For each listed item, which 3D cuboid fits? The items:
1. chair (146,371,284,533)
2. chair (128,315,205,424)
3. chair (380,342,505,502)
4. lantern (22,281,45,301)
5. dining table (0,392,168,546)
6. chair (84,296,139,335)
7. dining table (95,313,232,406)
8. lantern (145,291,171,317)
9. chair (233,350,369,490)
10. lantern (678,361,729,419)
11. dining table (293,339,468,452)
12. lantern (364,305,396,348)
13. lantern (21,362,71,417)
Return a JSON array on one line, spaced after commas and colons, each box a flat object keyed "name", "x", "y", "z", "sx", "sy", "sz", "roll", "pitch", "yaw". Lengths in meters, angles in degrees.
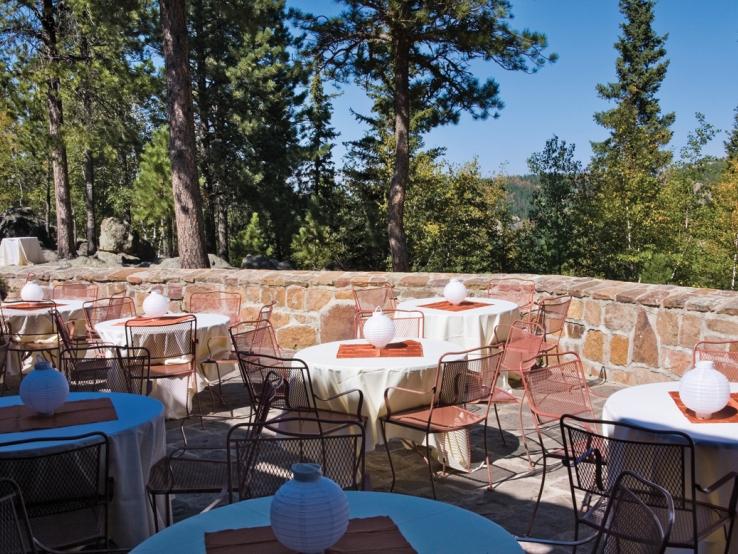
[{"name": "chair", "x": -1.152, "y": 1.178, "z": 4.335, "sx": 1.059, "sy": 1.463, "sz": 0.909, "roll": 2, "pitch": 5, "yaw": -5}, {"name": "chair", "x": -2.017, "y": 0.878, "z": 6.157, "sx": 0.610, "sy": 1.035, "sz": 0.580, "roll": -3, "pitch": 7, "yaw": -20}, {"name": "chair", "x": 0.576, "y": 1.094, "z": 4.899, "sx": 0.737, "sy": 1.145, "sz": 0.779, "roll": -2, "pitch": 0, "yaw": -29}, {"name": "lantern", "x": -4.653, "y": 0.193, "z": 8.462, "sx": 0.274, "sy": 0.282, "sz": 0.275, "roll": -1, "pitch": 9, "yaw": -8}, {"name": "dining table", "x": -1.642, "y": 1.067, "z": 3.776, "sx": 0.869, "sy": 0.566, "sz": 0.894, "roll": 10, "pitch": 11, "yaw": 42}, {"name": "chair", "x": -3.283, "y": 0.487, "z": 7.726, "sx": 0.395, "sy": 0.311, "sz": 0.405, "roll": -1, "pitch": 19, "yaw": 4}, {"name": "dining table", "x": -1.992, "y": 0.753, "z": 6.784, "sx": 1.071, "sy": 0.723, "sz": 1.085, "roll": -1, "pitch": 0, "yaw": -8}, {"name": "lantern", "x": -2.335, "y": 0.300, "z": 6.711, "sx": 0.252, "sy": 0.266, "sz": 0.253, "roll": 0, "pitch": 1, "yaw": -7}, {"name": "chair", "x": -0.446, "y": 1.088, "z": 3.745, "sx": 0.761, "sy": 1.038, "sz": 0.856, "roll": -2, "pitch": -21, "yaw": -21}, {"name": "lantern", "x": 1.930, "y": 0.635, "z": 3.616, "sx": 0.304, "sy": 0.367, "sz": 0.314, "roll": 0, "pitch": 0, "yaw": 18}, {"name": "dining table", "x": 0.036, "y": 0.754, "z": 4.841, "sx": 0.864, "sy": 0.606, "sz": 0.924, "roll": 3, "pitch": 10, "yaw": 29}, {"name": "lantern", "x": 0.094, "y": 0.428, "z": 5.189, "sx": 0.296, "sy": 0.354, "sz": 0.304, "roll": -1, "pitch": 3, "yaw": -3}, {"name": "lantern", "x": -1.961, "y": 0.647, "z": 3.680, "sx": 0.299, "sy": 0.360, "sz": 0.301, "roll": -1, "pitch": -2, "yaw": 35}]
